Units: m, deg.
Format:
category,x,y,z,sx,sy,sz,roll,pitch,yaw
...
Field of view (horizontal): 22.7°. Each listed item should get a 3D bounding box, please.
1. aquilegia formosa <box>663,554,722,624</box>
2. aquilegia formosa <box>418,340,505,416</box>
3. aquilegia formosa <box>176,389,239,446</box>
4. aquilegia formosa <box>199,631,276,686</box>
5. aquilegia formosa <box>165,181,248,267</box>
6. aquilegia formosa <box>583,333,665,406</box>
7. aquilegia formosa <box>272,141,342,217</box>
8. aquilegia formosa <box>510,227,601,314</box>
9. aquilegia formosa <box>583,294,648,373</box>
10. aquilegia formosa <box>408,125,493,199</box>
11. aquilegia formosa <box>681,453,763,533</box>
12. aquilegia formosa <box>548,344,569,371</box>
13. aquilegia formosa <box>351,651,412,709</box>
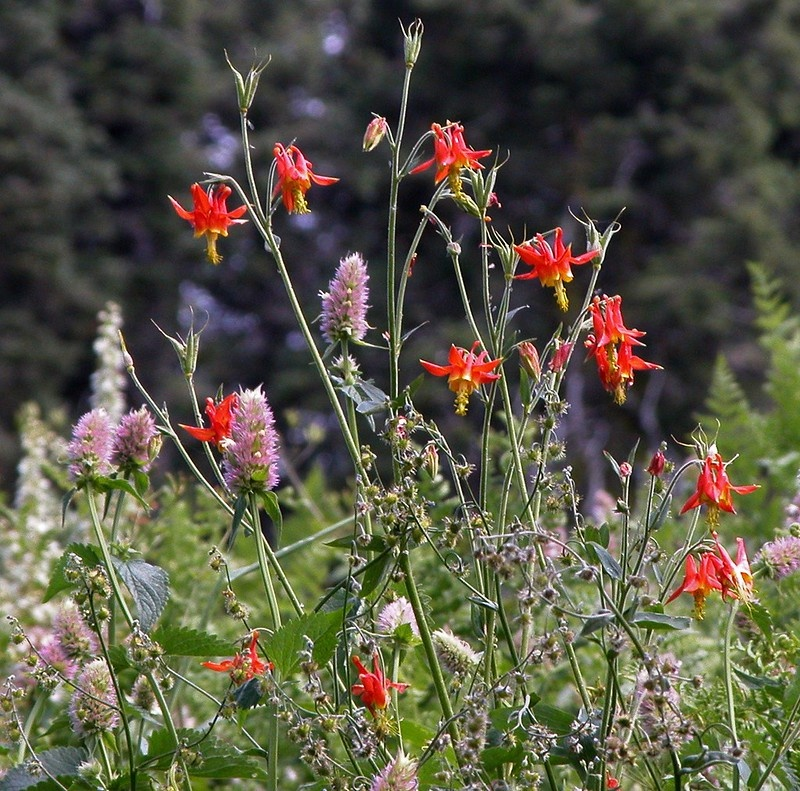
category,x,y,z,sx,sy,sz,roll,pitch,yaw
aquilegia formosa,1.311,0.839,8.711,0.250,0.278,0.240,-6,-2,25
aquilegia formosa,0.297,-0.077,8.803,0.297,0.337,0.304,18,-21,-39
aquilegia formosa,-0.797,0.092,8.834,0.228,0.178,0.267,-15,14,2
aquilegia formosa,-0.636,1.121,8.746,0.159,0.176,0.179,2,9,-32
aquilegia formosa,-0.845,-0.760,9.035,0.330,0.378,0.287,1,-1,42
aquilegia formosa,1.009,-0.136,8.850,0.265,0.313,0.294,10,-5,-38
aquilegia formosa,-0.470,-0.964,8.905,0.173,0.301,0.174,-8,36,-4
aquilegia formosa,0.710,-0.558,8.901,0.331,0.349,0.385,1,-6,-44
aquilegia formosa,0.960,-0.332,8.838,0.249,0.201,0.275,-1,-7,-28
aquilegia formosa,0.219,-1.041,8.866,0.339,0.311,0.303,-12,37,-9
aquilegia formosa,1.355,0.397,8.724,0.342,0.373,0.328,2,8,-6
aquilegia formosa,0.702,-0.161,8.766,0.057,0.124,0.048,21,26,2
aquilegia formosa,-0.080,1.271,8.695,0.202,0.240,0.234,20,46,-18
